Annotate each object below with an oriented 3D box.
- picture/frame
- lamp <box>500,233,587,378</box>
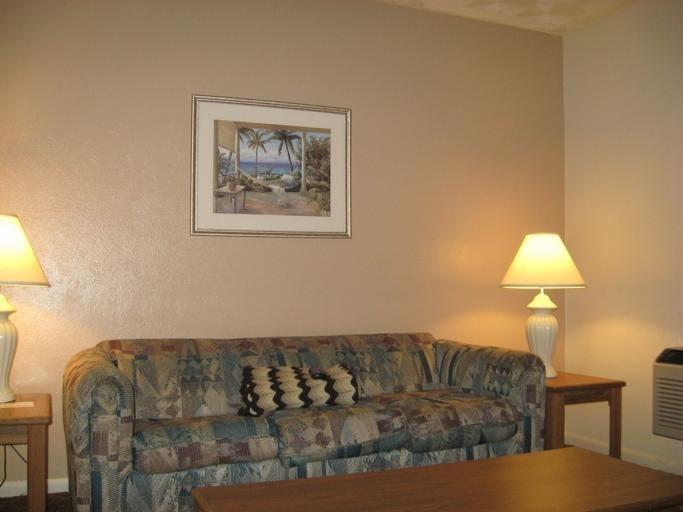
[{"bbox_3d":[-0.533,-0.595,4.184,1.036,0.804,0.027,2,-6,-18],"label":"picture/frame"},{"bbox_3d":[1.399,0.348,4.313,0.614,0.974,0.583,1,-3,-10],"label":"lamp"}]
